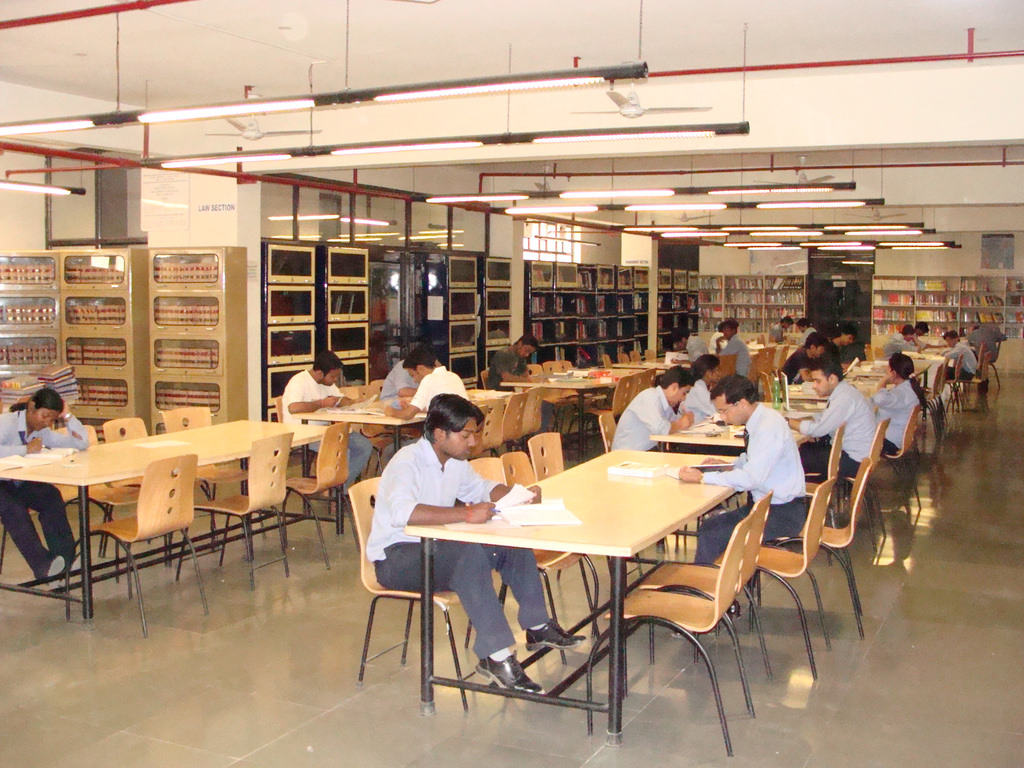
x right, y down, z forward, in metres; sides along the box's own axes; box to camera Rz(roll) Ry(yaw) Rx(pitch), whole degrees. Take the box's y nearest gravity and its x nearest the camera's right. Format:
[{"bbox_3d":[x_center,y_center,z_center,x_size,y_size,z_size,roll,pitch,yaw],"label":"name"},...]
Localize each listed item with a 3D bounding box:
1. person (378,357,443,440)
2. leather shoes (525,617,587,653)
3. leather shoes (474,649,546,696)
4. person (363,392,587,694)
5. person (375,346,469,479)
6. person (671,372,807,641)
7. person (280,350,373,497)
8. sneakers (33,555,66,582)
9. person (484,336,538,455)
[{"bbox_3d":[-0.891,0.146,7.487,0.546,0.965,0.415,4,30,5],"label":"person"},{"bbox_3d":[0.249,1.348,4.544,0.420,0.194,0.172,-2,0,7],"label":"leather shoes"},{"bbox_3d":[-0.020,1.423,4.209,0.320,0.135,0.150,20,2,23],"label":"leather shoes"},{"bbox_3d":[-0.239,0.841,4.366,1.054,1.559,0.702,1,7,6],"label":"person"},{"bbox_3d":[-0.810,0.015,7.714,0.781,0.448,0.609,6,12,0],"label":"person"},{"bbox_3d":[1.425,0.671,5.332,0.780,1.404,0.611,1,7,11],"label":"person"},{"bbox_3d":[-1.705,0.322,8.025,0.849,1.318,0.569,17,28,20],"label":"person"},{"bbox_3d":[-2.987,1.205,5.584,0.097,0.248,0.093,3,-29,49],"label":"sneakers"},{"bbox_3d":[-0.007,-0.121,10.867,0.447,0.970,0.431,11,-4,-41],"label":"person"}]
